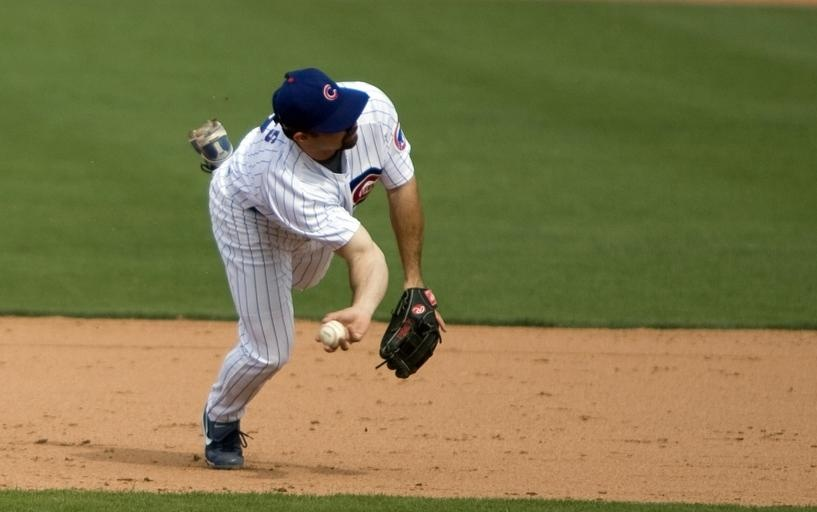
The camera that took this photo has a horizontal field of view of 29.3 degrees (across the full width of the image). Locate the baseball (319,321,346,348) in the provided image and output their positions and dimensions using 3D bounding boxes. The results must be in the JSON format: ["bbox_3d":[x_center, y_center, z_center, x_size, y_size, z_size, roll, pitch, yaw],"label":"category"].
[{"bbox_3d":[-0.700,0.706,14.540,0.165,0.164,0.165,-32,-5,30],"label":"baseball"}]

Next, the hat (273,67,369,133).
[{"bbox_3d":[-0.851,-1.425,15.078,0.789,0.486,0.545,-3,47,18],"label":"hat"}]
